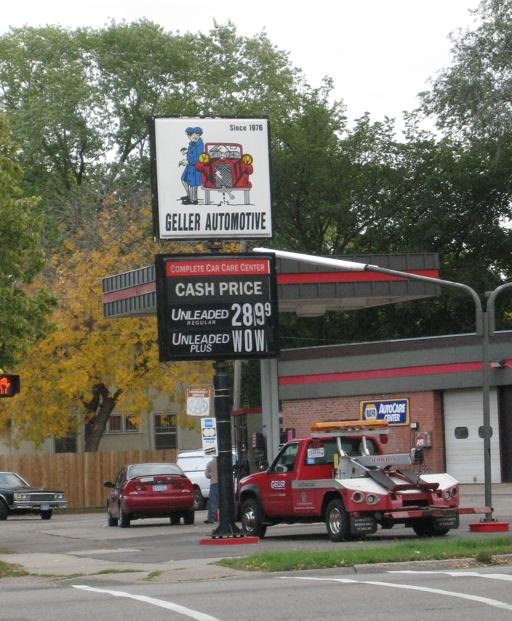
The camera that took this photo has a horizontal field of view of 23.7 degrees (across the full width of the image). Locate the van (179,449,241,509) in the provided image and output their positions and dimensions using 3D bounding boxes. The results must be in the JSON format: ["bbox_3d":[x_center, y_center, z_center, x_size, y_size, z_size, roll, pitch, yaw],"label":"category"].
[{"bbox_3d":[-1.386,4.844,34.634,2.465,1.589,1.405,-4,-5,25],"label":"van"}]

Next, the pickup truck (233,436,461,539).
[{"bbox_3d":[1.489,2.980,20.570,1.883,1.798,3.721,5,-11,-38],"label":"pickup truck"}]

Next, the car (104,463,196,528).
[{"bbox_3d":[-2.487,4.466,29.193,2.326,1.466,4.689,2,-10,-18],"label":"car"}]
